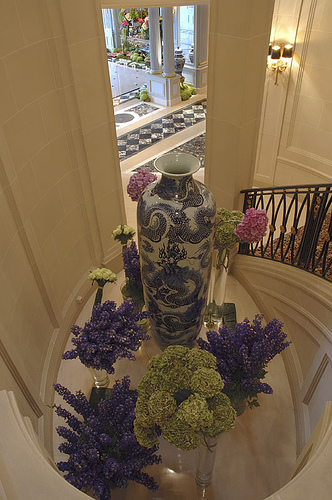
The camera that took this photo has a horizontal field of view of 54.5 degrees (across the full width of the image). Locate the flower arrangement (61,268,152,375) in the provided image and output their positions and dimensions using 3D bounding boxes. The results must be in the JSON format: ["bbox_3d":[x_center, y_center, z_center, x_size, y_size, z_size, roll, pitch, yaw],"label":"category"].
[{"bbox_3d":[-0.460,0.547,2.431,0.590,0.635,0.590,-25,49,-34],"label":"flower arrangement"}]

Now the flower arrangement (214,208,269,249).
[{"bbox_3d":[0.578,-0.212,2.570,0.361,0.455,0.419,3,39,7],"label":"flower arrangement"}]

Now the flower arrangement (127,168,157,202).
[{"bbox_3d":[-0.228,-0.583,2.931,0.260,0.285,0.286,-16,51,-14],"label":"flower arrangement"}]

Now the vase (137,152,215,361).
[{"bbox_3d":[0.053,0.154,2.337,0.545,1.574,0.567,8,33,11],"label":"vase"}]

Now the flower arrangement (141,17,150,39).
[{"bbox_3d":[-0.790,-8.303,12.083,0.250,0.668,0.670,-6,39,-4],"label":"flower arrangement"}]

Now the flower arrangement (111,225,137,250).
[{"bbox_3d":[-0.335,-0.145,2.688,0.224,0.236,0.225,-1,42,-1],"label":"flower arrangement"}]

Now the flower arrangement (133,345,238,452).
[{"bbox_3d":[0.075,0.544,1.222,0.347,0.253,0.395,10,33,15],"label":"flower arrangement"}]

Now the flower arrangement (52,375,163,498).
[{"bbox_3d":[-0.274,0.908,1.785,0.536,0.446,0.651,13,60,3],"label":"flower arrangement"}]

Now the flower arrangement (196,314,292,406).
[{"bbox_3d":[0.411,0.482,1.881,0.521,0.603,0.523,1,48,5],"label":"flower arrangement"}]
